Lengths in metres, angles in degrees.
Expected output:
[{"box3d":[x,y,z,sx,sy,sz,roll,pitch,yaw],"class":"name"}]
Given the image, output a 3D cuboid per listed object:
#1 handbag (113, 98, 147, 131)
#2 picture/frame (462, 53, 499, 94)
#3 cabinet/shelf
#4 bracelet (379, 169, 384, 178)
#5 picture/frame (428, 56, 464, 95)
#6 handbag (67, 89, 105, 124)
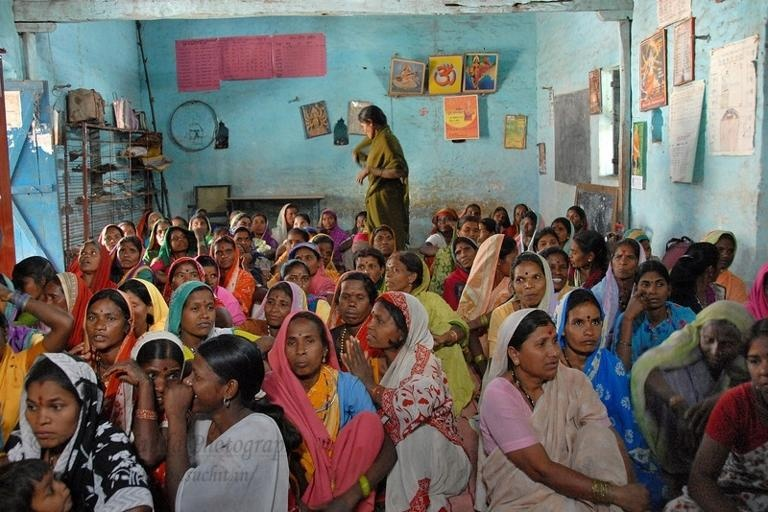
[{"box3d":[-4.013,-2.248,10.777,0.289,0.587,0.781,-5,28,-13],"class":"handbag"},{"box3d":[1.750,-3.307,12.204,0.680,0.729,0.121,1,8,3],"class":"picture/frame"},{"box3d":[-3.838,-0.847,9.264,0.705,1.962,2.136,2,7,2],"class":"cabinet/shelf"},{"box3d":[-0.034,-0.938,7.797,0.071,0.069,0.059,-1,6,2],"class":"bracelet"},{"box3d":[1.094,-3.262,12.185,0.693,0.693,0.089,0,14,-1],"class":"picture/frame"},{"box3d":[-4.158,-2.068,9.452,0.479,0.512,0.561,-4,7,-25],"class":"handbag"}]
